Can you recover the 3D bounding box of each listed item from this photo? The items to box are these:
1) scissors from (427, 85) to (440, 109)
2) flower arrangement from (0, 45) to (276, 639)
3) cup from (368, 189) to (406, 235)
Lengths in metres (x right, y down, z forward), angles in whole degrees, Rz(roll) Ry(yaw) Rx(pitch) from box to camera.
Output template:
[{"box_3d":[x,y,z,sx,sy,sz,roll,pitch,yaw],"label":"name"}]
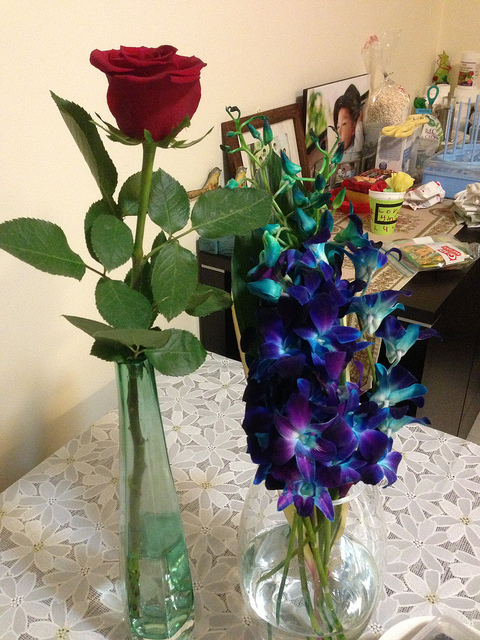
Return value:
[{"box_3d":[0.890,-1.027,2.258,0.052,0.006,0.129,15,51,8],"label":"scissors"},{"box_3d":[-0.080,0.015,0.496,0.162,0.509,0.417,-9,31,-11],"label":"flower arrangement"},{"box_3d":[0.439,-0.325,1.479,0.121,0.125,0.118,0,24,0],"label":"cup"}]
